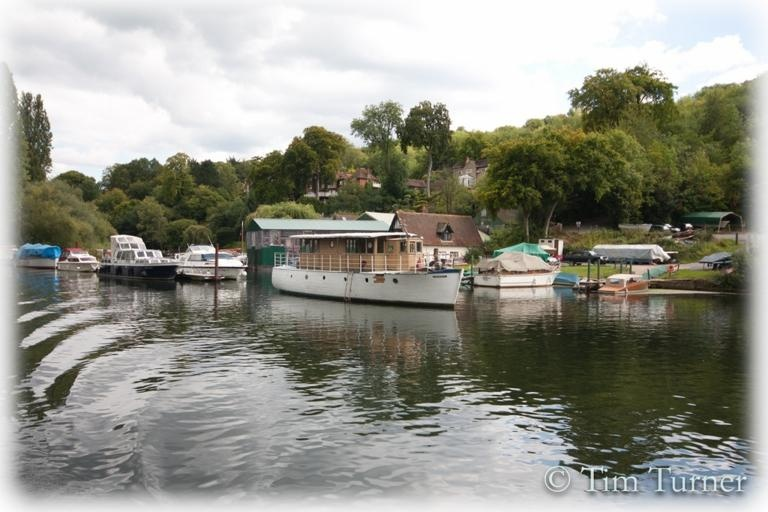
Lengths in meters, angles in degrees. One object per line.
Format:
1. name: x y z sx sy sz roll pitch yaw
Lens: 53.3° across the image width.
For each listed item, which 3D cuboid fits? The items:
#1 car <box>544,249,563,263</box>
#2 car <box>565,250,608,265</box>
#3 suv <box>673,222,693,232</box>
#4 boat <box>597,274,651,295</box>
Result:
1. car: 20.270 0.074 91.102 1.696 1.154 2.474 2 5 11
2. car: 23.302 0.402 89.631 4.849 1.474 2.178 -1 1 33
3. suv: 39.106 -3.638 99.854 2.023 0.737 2.036 -3 1 34
4. boat: 23.425 2.917 73.681 5.548 1.379 1.922 -4 7 -39
